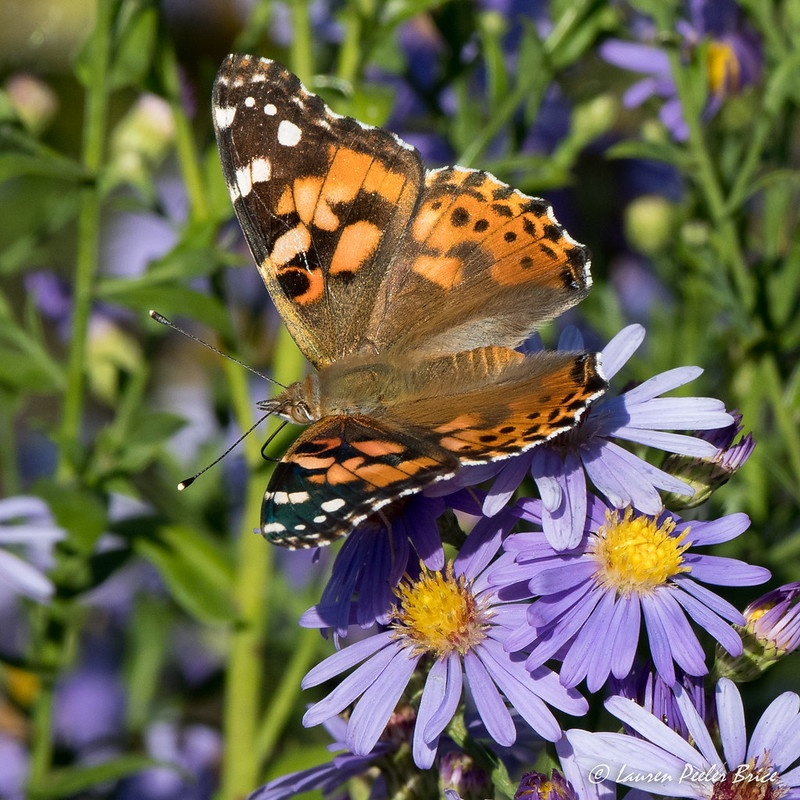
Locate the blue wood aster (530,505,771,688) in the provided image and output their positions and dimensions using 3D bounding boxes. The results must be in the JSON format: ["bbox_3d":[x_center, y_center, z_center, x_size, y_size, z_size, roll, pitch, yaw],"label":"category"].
[{"bbox_3d":[0.255,0.214,1.174,0.211,0.065,0.217,-6,42,11],"label":"blue wood aster"}]

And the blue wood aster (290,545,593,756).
[{"bbox_3d":[0.059,0.257,1.270,0.377,0.115,0.385,1,35,-6],"label":"blue wood aster"}]
